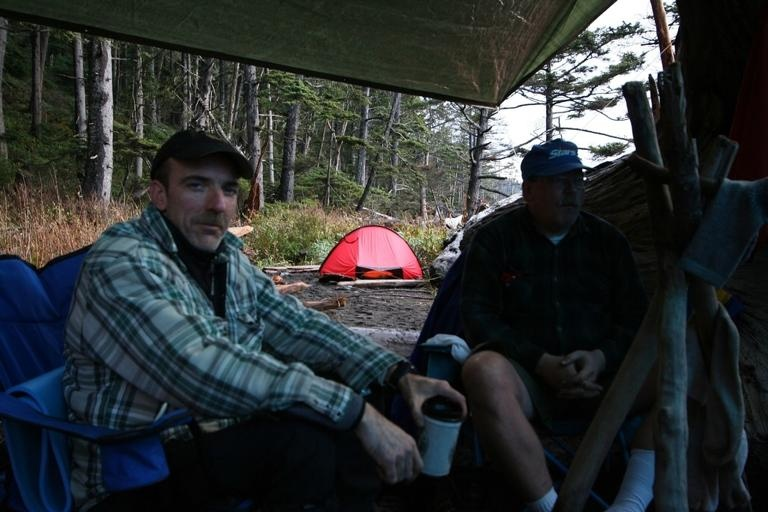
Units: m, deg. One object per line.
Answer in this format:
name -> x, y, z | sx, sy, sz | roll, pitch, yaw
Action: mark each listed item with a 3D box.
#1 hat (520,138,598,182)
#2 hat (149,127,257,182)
hat -> 1.073, -0.566, 3.467 | 0.269, 0.178, 0.346 | -12, 2, -40
hat -> -0.981, -0.556, 3.054 | 0.416, 0.218, 0.308 | -5, -1, 22
